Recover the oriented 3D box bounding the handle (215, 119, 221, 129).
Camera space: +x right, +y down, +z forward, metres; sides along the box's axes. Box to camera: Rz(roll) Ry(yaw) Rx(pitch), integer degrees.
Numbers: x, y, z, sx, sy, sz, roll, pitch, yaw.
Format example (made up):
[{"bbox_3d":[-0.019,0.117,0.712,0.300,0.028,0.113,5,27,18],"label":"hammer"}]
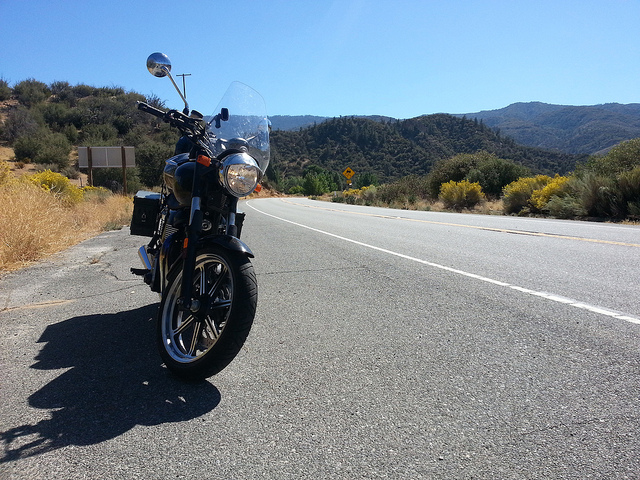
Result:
[{"bbox_3d":[-1.167,-1.341,5.233,0.050,0.097,0.021,3,-1,-3],"label":"handle"}]
